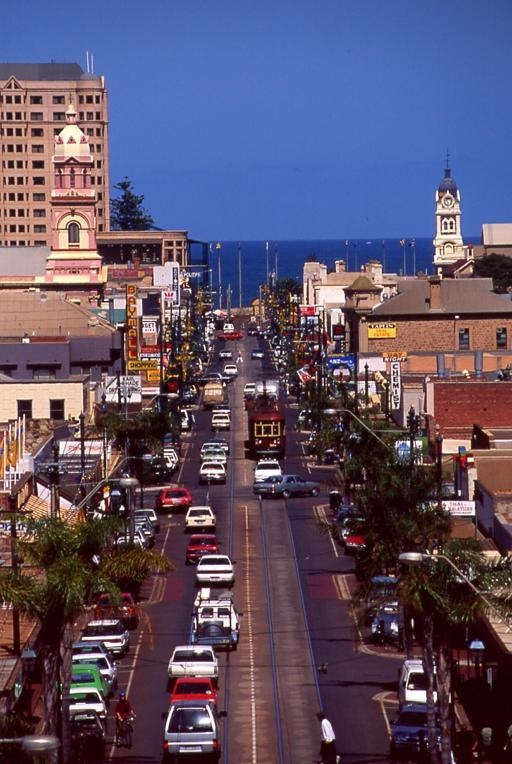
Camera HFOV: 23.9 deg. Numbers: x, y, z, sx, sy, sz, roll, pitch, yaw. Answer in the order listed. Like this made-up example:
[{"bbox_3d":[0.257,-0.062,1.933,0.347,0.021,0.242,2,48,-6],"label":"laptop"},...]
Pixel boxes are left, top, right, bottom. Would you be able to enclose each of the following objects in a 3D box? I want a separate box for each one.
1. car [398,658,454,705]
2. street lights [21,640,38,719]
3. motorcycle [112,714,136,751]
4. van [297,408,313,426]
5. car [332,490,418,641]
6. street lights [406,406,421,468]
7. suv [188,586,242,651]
[{"bbox_3d":[3.950,7.488,29.889,0.813,1.099,1.739,1,-7,-3],"label":"car"},{"bbox_3d":[-5.627,7.609,29.696,0.521,1.896,0.594,0,-2,2],"label":"street lights"},{"bbox_3d":[-3.099,8.130,28.313,0.437,0.682,1.259,-2,2,-5],"label":"motorcycle"},{"bbox_3d":[3.516,2.492,85.758,0.879,1.097,2.102,0,-5,1],"label":"van"},{"bbox_3d":[2.990,4.686,29.239,1.476,2.259,7.229,0,10,-1],"label":"car"},{"bbox_3d":[5.181,1.823,39.409,0.401,2.285,0.522,-10,18,-21],"label":"street lights"},{"bbox_3d":[-1.251,7.414,37.420,1.357,1.764,2.686,0,6,-3],"label":"suv"}]
